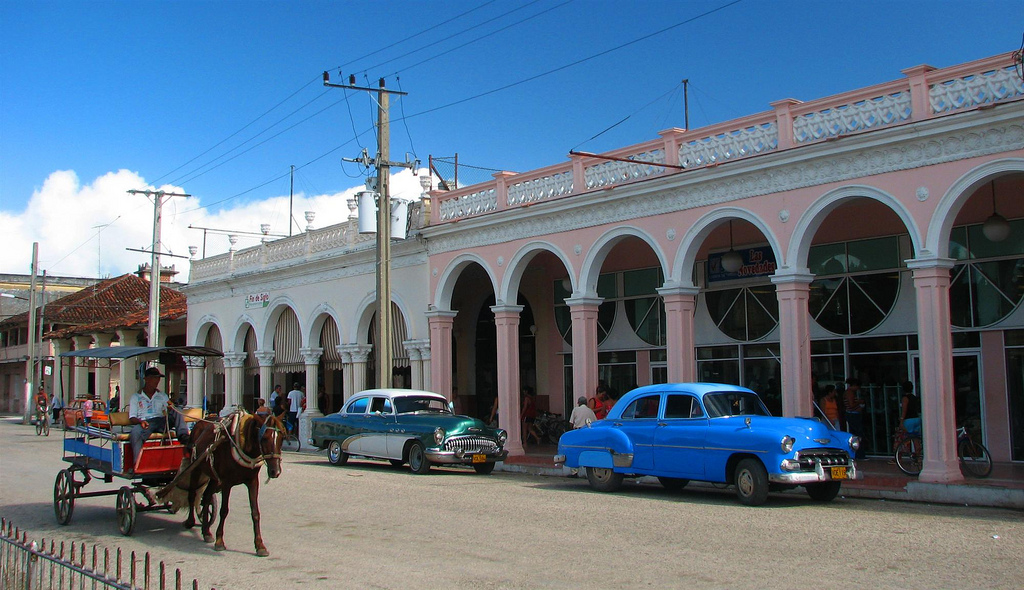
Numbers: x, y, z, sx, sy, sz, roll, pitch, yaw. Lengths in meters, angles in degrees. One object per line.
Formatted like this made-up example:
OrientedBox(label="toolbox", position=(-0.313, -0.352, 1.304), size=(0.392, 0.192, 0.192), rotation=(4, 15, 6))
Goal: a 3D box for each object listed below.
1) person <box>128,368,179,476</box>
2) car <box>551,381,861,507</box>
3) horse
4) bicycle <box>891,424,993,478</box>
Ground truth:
OrientedBox(label="person", position=(-8.147, 2.736, 20.390), size=(0.958, 2.443, 0.894), rotation=(0, -1, -2))
OrientedBox(label="car", position=(4.597, 3.734, 23.161), size=(3.121, 2.138, 6.096), rotation=(7, -10, -43))
OrientedBox(label="horse", position=(-5.962, 3.887, 19.063), size=(2.895, 2.922, 1.073), rotation=(-11, -17, 44))
OrientedBox(label="bicycle", position=(11.397, 4.172, 24.216), size=(2.312, 1.517, 0.718), rotation=(-3, -5, 25))
